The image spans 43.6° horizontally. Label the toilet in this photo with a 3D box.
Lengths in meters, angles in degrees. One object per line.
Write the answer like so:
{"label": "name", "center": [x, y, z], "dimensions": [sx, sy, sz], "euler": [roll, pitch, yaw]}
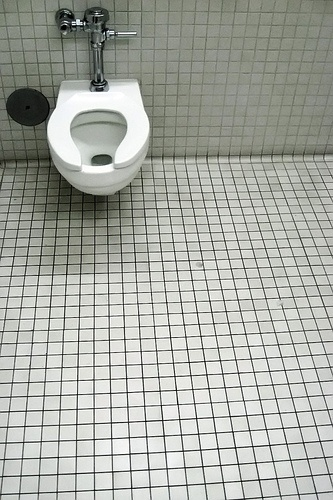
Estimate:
{"label": "toilet", "center": [-0.212, -0.395, 1.572], "dimensions": [0.336, 0.336, 0.489], "euler": [0, 62, -1]}
